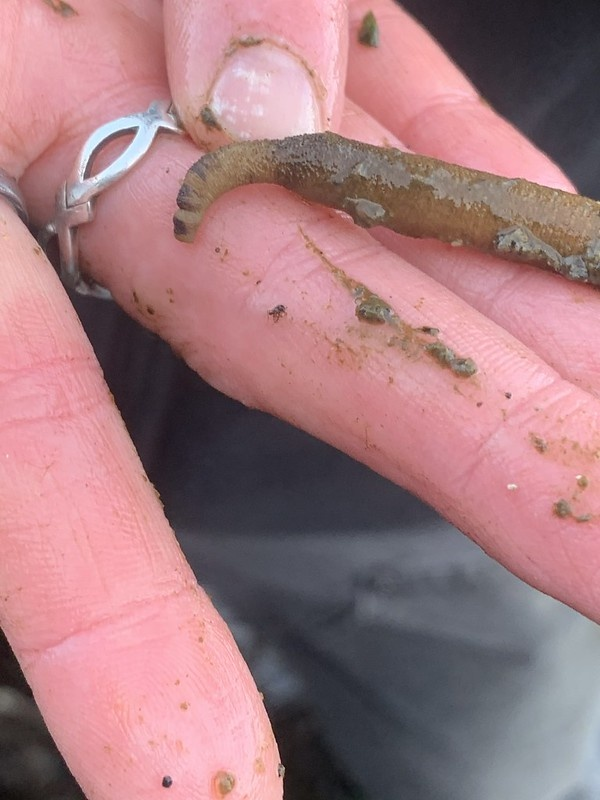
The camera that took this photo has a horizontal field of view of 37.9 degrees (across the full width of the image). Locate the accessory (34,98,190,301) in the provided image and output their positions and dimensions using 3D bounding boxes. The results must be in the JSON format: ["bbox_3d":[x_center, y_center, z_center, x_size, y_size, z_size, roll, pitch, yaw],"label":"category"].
[{"bbox_3d":[-0.222,-0.240,1.013,0.206,0.061,0.154,-42,90,7],"label":"accessory"}]
